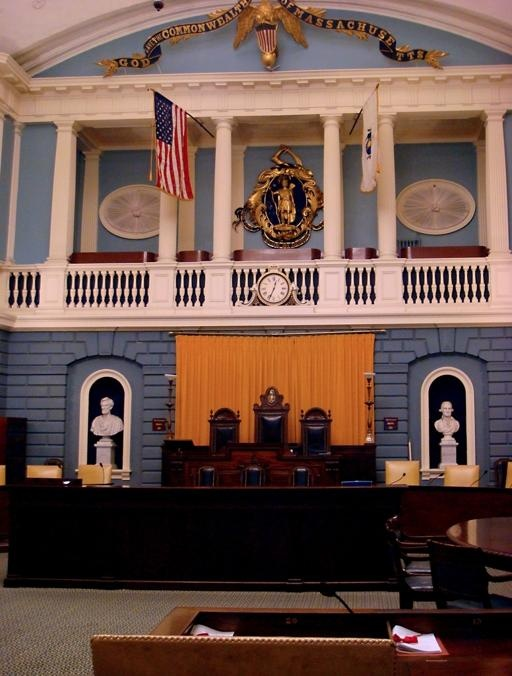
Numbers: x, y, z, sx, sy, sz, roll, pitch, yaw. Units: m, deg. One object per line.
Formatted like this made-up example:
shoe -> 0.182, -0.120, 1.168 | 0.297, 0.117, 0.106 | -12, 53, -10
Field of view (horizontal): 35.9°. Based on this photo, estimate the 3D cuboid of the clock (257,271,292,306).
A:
clock -> 0.256, -0.668, 11.567 | 0.540, 0.475, 0.514 | 3, -11, 2

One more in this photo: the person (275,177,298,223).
person -> 0.479, -2.294, 13.285 | 0.377, 0.820, 0.139 | 0, -8, 0

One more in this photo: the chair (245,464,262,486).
chair -> -0.029, 1.517, 8.721 | 0.177, 0.190, 0.314 | 0, -7, 0

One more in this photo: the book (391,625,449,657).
book -> 0.462, 0.867, 2.266 | 0.145, 0.046, 0.154 | -1, -6, 10

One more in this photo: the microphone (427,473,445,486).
microphone -> 2.485, 1.948, 10.977 | 0.217, 0.176, 0.299 | -1, -7, 8

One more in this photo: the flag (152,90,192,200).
flag -> -1.142, -2.666, 11.028 | 0.284, 1.451, 0.759 | -4, -9, 30

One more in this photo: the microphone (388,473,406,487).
microphone -> 1.463, 1.458, 8.152 | 0.154, 0.112, 0.738 | -1, -6, 10

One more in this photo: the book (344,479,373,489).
book -> 0.866, 1.253, 6.715 | 0.218, 0.045, 0.193 | 0, 0, -3

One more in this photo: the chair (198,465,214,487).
chair -> -0.547, 1.547, 8.787 | 0.165, 0.176, 0.373 | 1, -7, -6
